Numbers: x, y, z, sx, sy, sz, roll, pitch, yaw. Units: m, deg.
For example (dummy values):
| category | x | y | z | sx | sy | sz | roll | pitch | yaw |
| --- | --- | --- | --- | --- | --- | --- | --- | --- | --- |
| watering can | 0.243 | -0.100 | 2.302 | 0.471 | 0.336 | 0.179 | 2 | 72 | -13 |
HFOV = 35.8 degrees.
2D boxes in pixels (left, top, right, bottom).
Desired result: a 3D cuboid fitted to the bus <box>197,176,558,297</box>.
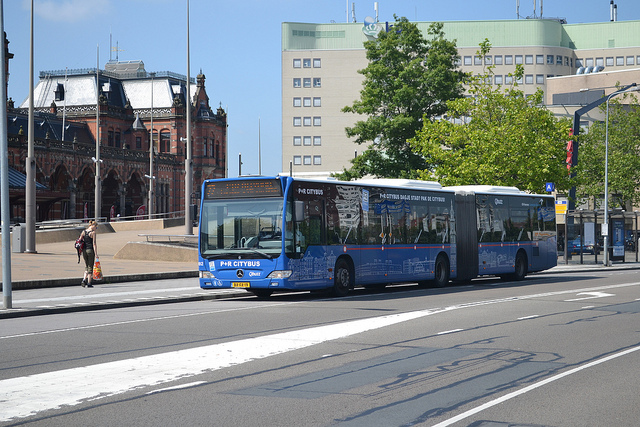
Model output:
| category | x | y | z | sx | sy | sz | roll | pitch | yaw |
| --- | --- | --- | --- | --- | --- | --- | --- | --- | --- |
| bus | 3.409 | 0.860 | 42.329 | 4.218 | 4.517 | 19.459 | 1 | 0 | 41 |

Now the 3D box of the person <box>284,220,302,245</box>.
| category | x | y | z | sx | sy | sz | roll | pitch | yaw |
| --- | --- | --- | --- | --- | --- | --- | --- | --- | --- |
| person | -0.960 | 0.685 | 35.265 | 0.716 | 0.833 | 0.173 | -5 | 8 | -36 |

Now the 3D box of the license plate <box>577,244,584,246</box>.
| category | x | y | z | sx | sy | sz | roll | pitch | yaw |
| --- | --- | --- | --- | --- | --- | --- | --- | --- | --- |
| license plate | 16.857 | 2.034 | 64.254 | 0.336 | 0.079 | 0.322 | 1 | 2 | 33 |
